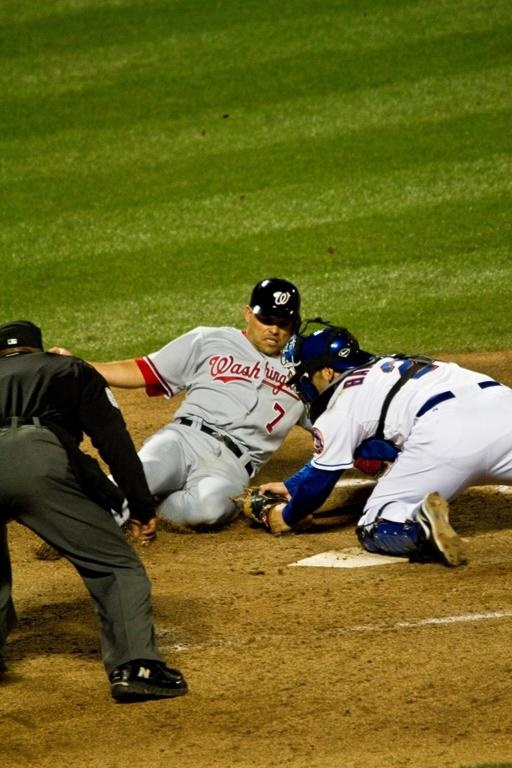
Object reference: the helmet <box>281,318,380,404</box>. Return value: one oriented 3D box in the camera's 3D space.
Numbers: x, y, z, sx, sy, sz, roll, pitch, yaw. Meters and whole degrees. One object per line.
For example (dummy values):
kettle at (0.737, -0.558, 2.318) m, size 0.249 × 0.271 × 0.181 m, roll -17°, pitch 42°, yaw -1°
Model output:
helmet at (0.310, -0.129, 4.983) m, size 0.437 × 0.322 × 0.329 m, roll -7°, pitch 28°, yaw 44°

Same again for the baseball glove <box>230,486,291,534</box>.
baseball glove at (0.040, 0.573, 5.161) m, size 0.252 × 0.171 × 0.102 m, roll 26°, pitch 33°, yaw 12°

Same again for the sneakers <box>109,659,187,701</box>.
sneakers at (-0.338, 0.919, 3.477) m, size 0.279 × 0.119 × 0.105 m, roll -4°, pitch 20°, yaw -27°
